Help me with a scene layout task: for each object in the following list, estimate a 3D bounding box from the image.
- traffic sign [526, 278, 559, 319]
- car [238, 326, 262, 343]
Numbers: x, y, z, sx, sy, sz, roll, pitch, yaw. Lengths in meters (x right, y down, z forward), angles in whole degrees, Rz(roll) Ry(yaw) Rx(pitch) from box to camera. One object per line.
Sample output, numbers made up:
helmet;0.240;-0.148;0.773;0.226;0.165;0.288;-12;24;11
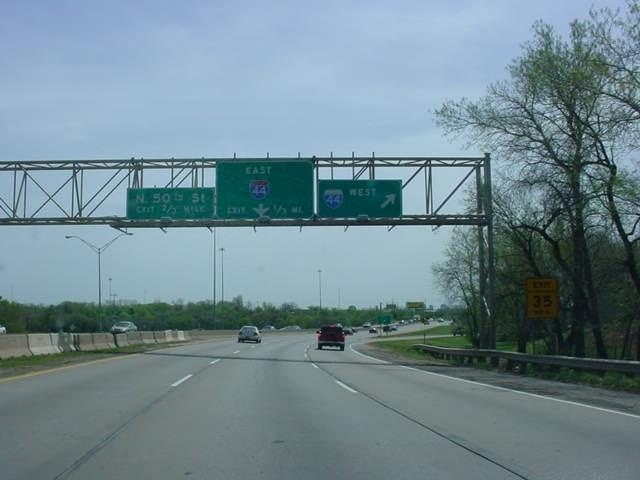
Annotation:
traffic sign;9.686;2.537;36.899;1.437;2.270;0.269;-1;0;7
car;-5.521;7.541;66.488;1.019;0.957;1.934;0;0;5
